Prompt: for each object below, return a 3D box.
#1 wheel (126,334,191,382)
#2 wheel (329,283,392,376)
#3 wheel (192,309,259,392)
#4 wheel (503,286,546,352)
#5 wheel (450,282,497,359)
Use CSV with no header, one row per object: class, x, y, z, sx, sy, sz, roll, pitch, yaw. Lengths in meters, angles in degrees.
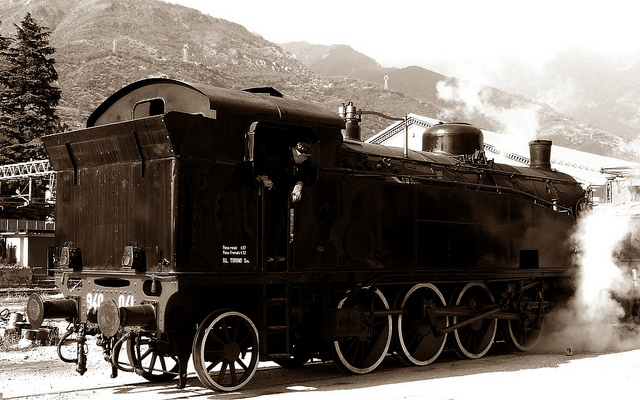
wheel,-3.513,3.209,12.385,1.002,1.052,2.788,1,-6,-16
wheel,0.839,2.741,12.704,1.973,2.126,0.282,7,-6,-36
wheel,-1.800,2.791,11.192,1.697,1.749,0.463,0,2,-25
wheel,5.355,3.114,15.476,1.555,1.707,0.550,5,-7,-43
wheel,3.735,2.904,14.430,1.928,2.126,0.298,-5,8,-43
